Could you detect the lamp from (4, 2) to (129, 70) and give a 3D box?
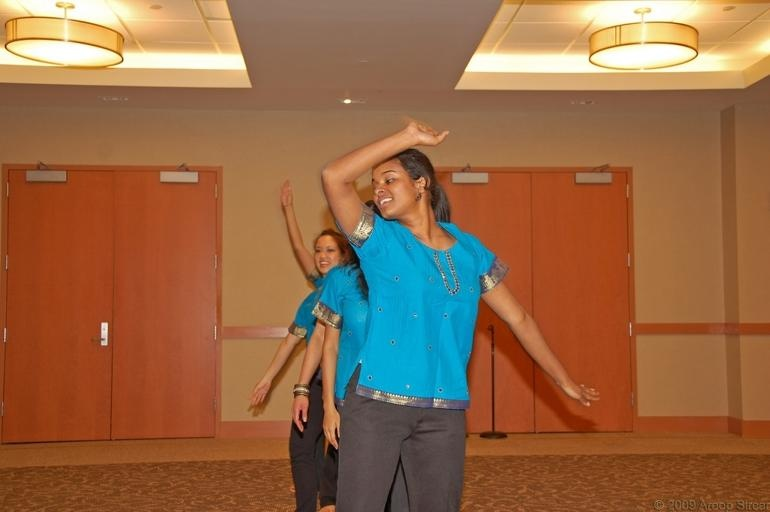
[{"bbox_3d":[-3.295,-2.229,6.873,0.813,0.338,0.776,-1,-11,0],"label":"lamp"}]

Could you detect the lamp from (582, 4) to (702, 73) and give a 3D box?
[{"bbox_3d":[2.778,-2.312,7.038,1.090,0.373,0.642,0,4,12],"label":"lamp"}]
